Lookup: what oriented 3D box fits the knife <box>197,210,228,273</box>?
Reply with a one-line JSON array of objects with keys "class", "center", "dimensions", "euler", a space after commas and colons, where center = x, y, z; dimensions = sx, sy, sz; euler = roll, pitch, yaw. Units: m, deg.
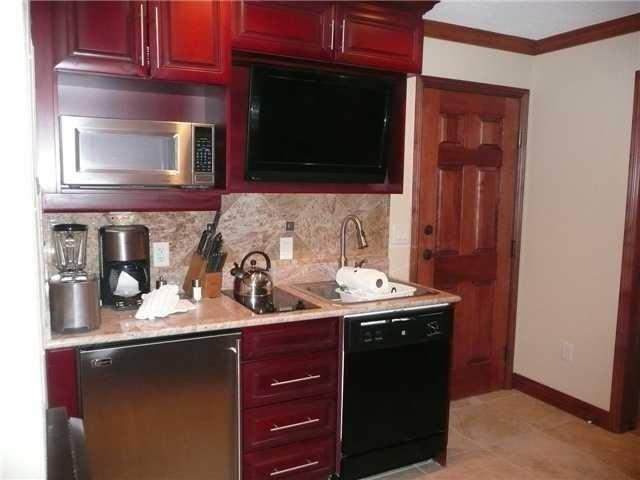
[{"class": "knife", "center": [-0.530, 0.053, 2.520], "dimensions": [0.119, 0.397, 0.099], "euler": [2, 6, -35]}]

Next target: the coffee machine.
[{"class": "coffee machine", "center": [-0.918, 0.117, 2.345], "dimensions": [0.223, 0.381, 0.196], "euler": [0, 10, -26]}]

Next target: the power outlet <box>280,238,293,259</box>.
[{"class": "power outlet", "center": [-0.198, 0.048, 2.909], "dimensions": [0.083, 0.130, 0.018], "euler": [-5, 7, -19]}]

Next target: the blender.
[{"class": "blender", "center": [-0.990, 0.141, 2.057], "dimensions": [0.217, 0.458, 0.250], "euler": [3, 8, -22]}]

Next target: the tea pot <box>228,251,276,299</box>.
[{"class": "tea pot", "center": [-0.329, 0.185, 2.642], "dimensions": [0.216, 0.237, 0.186], "euler": [12, 11, 38]}]

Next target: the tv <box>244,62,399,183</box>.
[{"class": "tv", "center": [-0.074, -0.608, 2.760], "dimensions": [1.019, 0.549, 0.393], "euler": [0, 11, -28]}]

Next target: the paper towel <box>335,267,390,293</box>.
[{"class": "paper towel", "center": [0.224, 0.217, 2.729], "dimensions": [0.132, 0.127, 0.296], "euler": [-6, 7, -33]}]

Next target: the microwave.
[{"class": "microwave", "center": [-0.842, -0.369, 2.258], "dimensions": [0.677, 0.305, 0.478], "euler": [-1, 10, -34]}]
